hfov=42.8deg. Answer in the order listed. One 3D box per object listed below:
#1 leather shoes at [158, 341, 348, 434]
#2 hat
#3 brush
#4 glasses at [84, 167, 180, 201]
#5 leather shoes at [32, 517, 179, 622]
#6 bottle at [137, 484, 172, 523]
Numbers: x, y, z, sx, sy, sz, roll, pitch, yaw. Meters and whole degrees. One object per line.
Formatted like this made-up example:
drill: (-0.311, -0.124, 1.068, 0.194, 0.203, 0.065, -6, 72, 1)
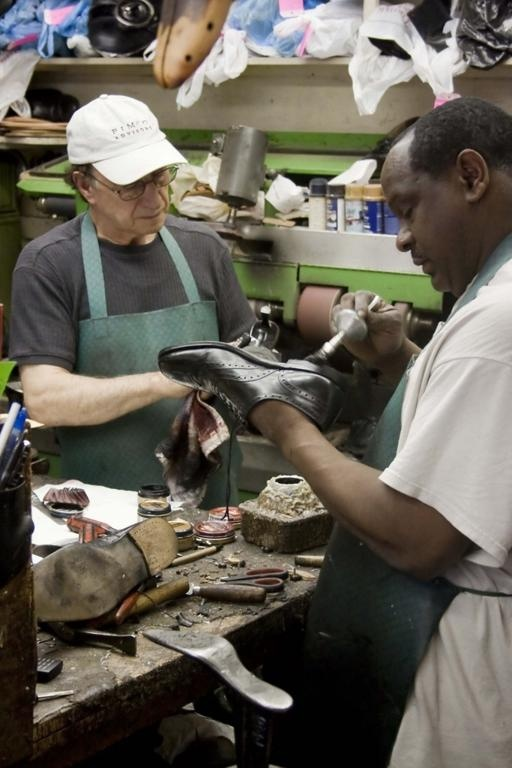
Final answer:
leather shoes: (-0.005, 0.006, 1.085, 0.339, 0.112, 0.131, 15, 56, 18)
hat: (-0.411, -0.695, 1.927, 0.376, 0.182, 0.241, 31, 48, 30)
brush: (0.160, -0.085, 1.241, 0.066, 0.062, 0.237, -19, 20, 50)
glasses: (-0.340, -0.547, 1.872, 0.162, 0.042, 0.157, -18, 9, -39)
leather shoes: (-0.242, 0.302, 1.084, 0.090, 0.054, 0.264, 51, 29, 10)
bottle: (-0.239, 0.286, 1.555, 0.081, 0.066, 0.075, 0, 4, -4)
